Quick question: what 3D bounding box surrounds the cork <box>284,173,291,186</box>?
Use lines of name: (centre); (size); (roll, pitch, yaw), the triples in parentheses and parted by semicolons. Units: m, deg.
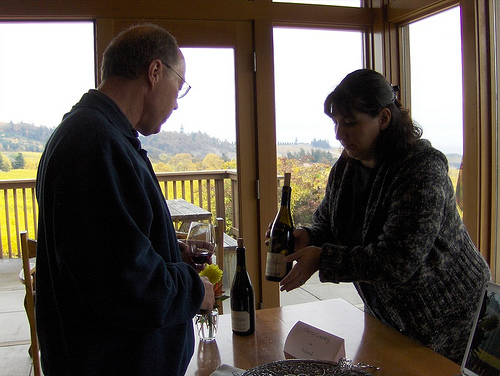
cork: (0.143, -0.032, 1.587); (0.021, 0.055, 0.039); (0, 11, 5)

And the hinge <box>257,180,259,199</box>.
hinge: (0.061, 0.011, 2.931); (0.014, 0.131, 0.016); (2, 11, 16)

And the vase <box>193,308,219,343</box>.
vase: (-0.157, 0.512, 1.538); (0.095, 0.120, 0.099); (1, -12, -27)

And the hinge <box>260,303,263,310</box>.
hinge: (0.086, 0.846, 2.959); (0.020, 0.031, 0.010); (3, 11, 16)

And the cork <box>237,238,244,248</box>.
cork: (-0.032, 0.203, 1.512); (0.019, 0.041, 0.035); (-3, 11, -10)

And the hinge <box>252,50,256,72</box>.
hinge: (0.033, -0.880, 2.872); (0.015, 0.138, 0.042); (-4, 11, -18)
